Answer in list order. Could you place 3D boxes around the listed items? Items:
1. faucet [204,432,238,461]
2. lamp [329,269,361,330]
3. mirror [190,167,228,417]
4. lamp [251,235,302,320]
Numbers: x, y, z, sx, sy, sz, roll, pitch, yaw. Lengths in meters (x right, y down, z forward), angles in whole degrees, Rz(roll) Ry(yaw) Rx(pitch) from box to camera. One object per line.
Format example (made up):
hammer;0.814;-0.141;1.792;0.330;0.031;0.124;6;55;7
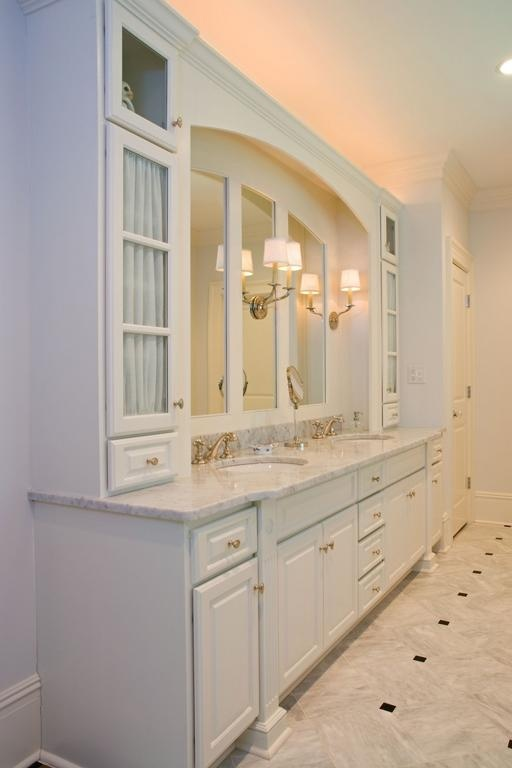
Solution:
faucet;-0.155;0.261;2.181;0.056;0.081;0.167;2;-10;-30
lamp;0.552;-0.529;3.395;0.165;0.370;0.123;2;2;30
mirror;-0.203;-0.389;2.267;0.048;1.031;0.265;-1;-2;21
lamp;0.090;-0.501;2.657;0.178;0.398;0.307;7;8;26
